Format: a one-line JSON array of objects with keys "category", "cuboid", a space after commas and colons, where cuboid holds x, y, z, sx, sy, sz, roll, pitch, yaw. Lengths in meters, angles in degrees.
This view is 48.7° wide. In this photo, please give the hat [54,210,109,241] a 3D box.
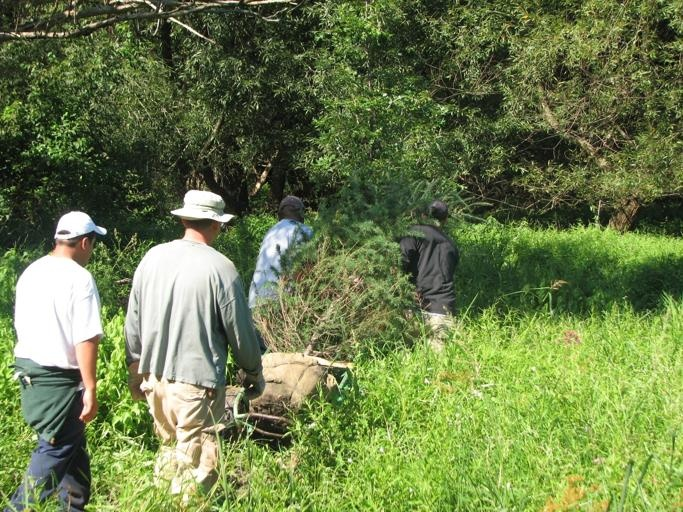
[{"category": "hat", "cuboid": [-2.637, -0.317, 7.614, 0.444, 0.285, 0.307, -21, 23, -38]}]

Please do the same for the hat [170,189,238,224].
[{"category": "hat", "cuboid": [-1.392, -0.499, 7.704, 0.616, 0.347, 0.742, 10, 5, 1]}]

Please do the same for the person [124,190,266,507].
[{"category": "person", "cuboid": [-1.464, 0.812, 7.431, 1.341, 2.906, 0.716, -1, 2, -7]}]

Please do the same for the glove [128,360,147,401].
[{"category": "glove", "cuboid": [-2.073, 1.251, 7.630, 0.129, 0.357, 0.232, -12, 24, -20]}]

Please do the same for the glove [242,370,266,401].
[{"category": "glove", "cuboid": [-0.872, 1.291, 7.624, 0.246, 0.243, 0.358, -1, 3, 8]}]

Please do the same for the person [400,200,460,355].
[{"category": "person", "cuboid": [1.350, 0.372, 10.559, 0.719, 2.668, 0.698, 5, 33, 15]}]
